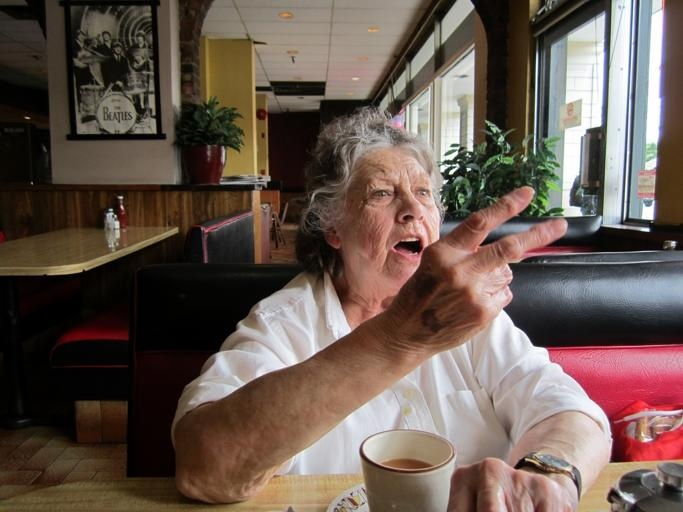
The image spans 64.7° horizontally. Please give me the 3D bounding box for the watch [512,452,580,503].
[{"bbox_3d":[0.399,0.407,1.070,0.098,0.124,0.078,13,7,-1],"label":"watch"}]

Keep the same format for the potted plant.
[{"bbox_3d":[-1.123,-0.982,4.791,0.628,0.841,0.670,1,-3,-2],"label":"potted plant"}]
